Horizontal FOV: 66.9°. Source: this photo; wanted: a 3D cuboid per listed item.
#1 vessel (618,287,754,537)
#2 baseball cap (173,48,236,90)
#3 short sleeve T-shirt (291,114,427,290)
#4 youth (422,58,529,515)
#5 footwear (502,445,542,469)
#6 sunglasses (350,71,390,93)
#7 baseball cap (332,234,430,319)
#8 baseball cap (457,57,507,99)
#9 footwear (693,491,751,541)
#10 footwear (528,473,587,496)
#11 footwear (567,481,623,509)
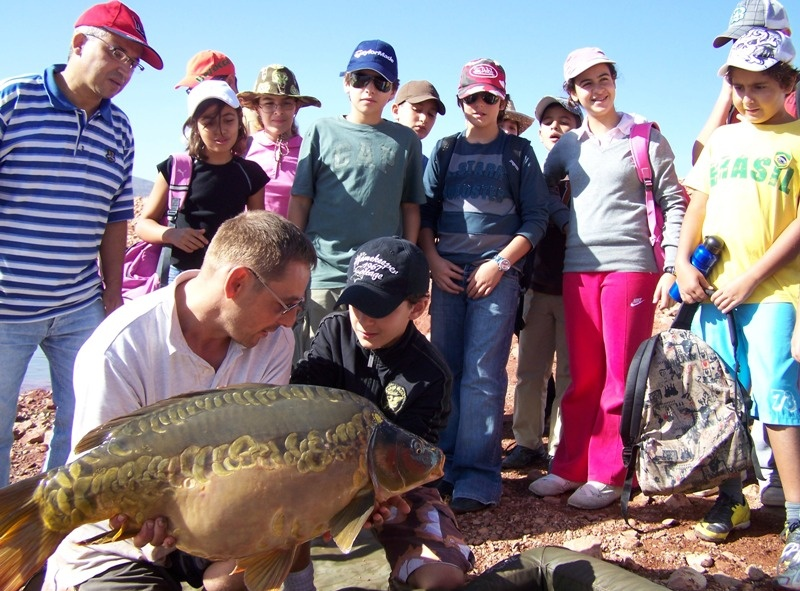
[{"bbox_3d":[1.775,0.566,4.103,0.947,1.420,0.721,-4,3,-6],"label":"vessel"},{"bbox_3d":[-1.910,-2.223,5.909,0.589,0.353,0.382,-24,26,-33],"label":"baseball cap"},{"bbox_3d":[-0.338,-0.703,4.790,0.964,1.513,0.502,3,-13,-6],"label":"short sleeve T-shirt"},{"bbox_3d":[0.563,-0.063,4.851,0.997,3.491,0.820,5,6,44],"label":"youth"},{"bbox_3d":[1.045,1.349,5.195,0.395,0.193,0.148,-2,2,-27],"label":"footwear"},{"bbox_3d":[-0.235,-1.644,4.673,0.334,0.149,0.096,-1,1,-1],"label":"sunglasses"},{"bbox_3d":[-0.108,-0.109,3.403,0.345,0.328,0.521,16,23,31],"label":"baseball cap"},{"bbox_3d":[0.664,-1.722,4.841,0.381,0.320,0.540,5,14,16],"label":"baseball cap"},{"bbox_3d":[2.052,1.401,3.906,0.456,0.259,0.173,-7,9,-38],"label":"footwear"},{"bbox_3d":[1.143,1.377,4.499,0.310,0.152,0.166,5,-6,-1],"label":"footwear"},{"bbox_3d":[1.392,1.413,4.307,0.335,0.159,0.179,0,3,-3],"label":"footwear"}]
